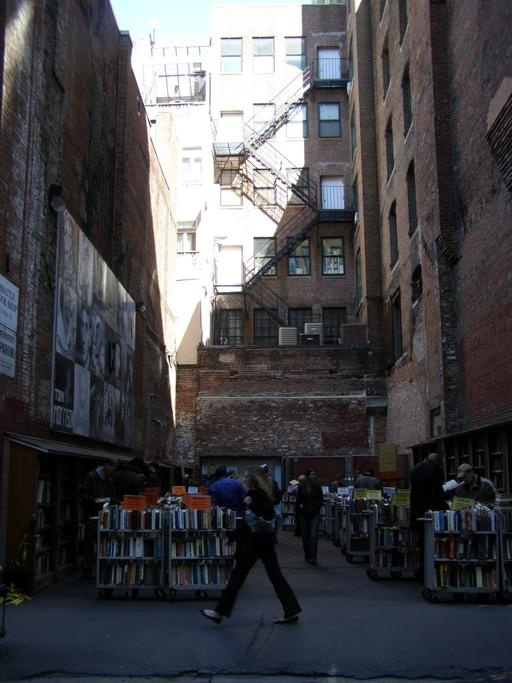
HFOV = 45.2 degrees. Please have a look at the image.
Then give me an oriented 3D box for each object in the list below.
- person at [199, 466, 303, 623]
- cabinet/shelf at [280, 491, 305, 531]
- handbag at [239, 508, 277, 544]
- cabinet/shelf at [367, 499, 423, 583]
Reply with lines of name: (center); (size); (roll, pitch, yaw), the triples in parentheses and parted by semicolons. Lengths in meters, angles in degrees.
person: (-0.044, 2.118, 6.328); (0.933, 1.479, 0.754); (-2, -11, 0)
cabinet/shelf: (1.364, 6.815, 23.972); (0.725, 1.736, 0.578); (-2, -46, 5)
handbag: (0.027, 1.889, 6.211); (0.342, 0.322, 0.224); (-2, -12, -3)
cabinet/shelf: (2.362, 3.219, 10.849); (0.746, 2.174, 1.392); (-1, -5, 5)
